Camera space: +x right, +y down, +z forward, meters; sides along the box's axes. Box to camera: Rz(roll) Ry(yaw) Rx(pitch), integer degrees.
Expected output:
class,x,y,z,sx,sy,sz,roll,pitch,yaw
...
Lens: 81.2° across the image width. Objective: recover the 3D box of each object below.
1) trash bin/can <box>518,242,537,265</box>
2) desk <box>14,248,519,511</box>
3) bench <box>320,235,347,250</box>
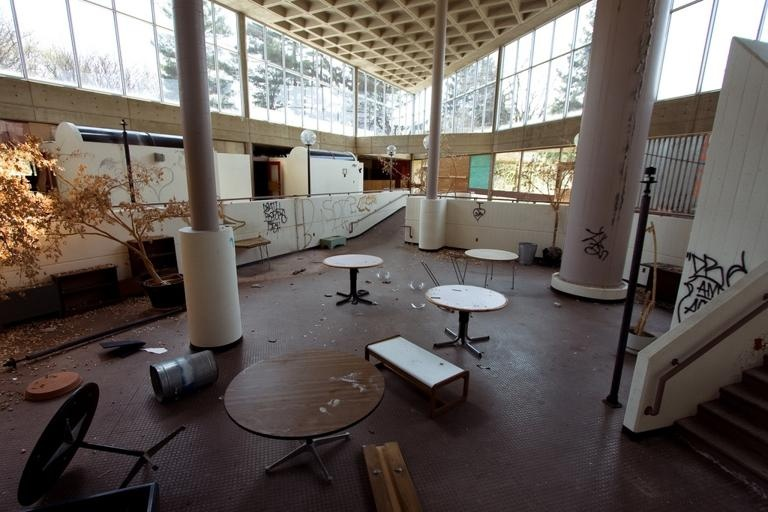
class,x,y,z,sx,sy,sz,roll,pitch,yaw
trash bin/can,4.452,-0.127,14.266,0.687,0.691,0.699,2,7,3
desk,-1.905,2.313,7.181,6.848,2.226,3.000,-2,13,-9
bench,-1.805,-0.549,16.239,0.644,0.364,1.053,10,16,37
